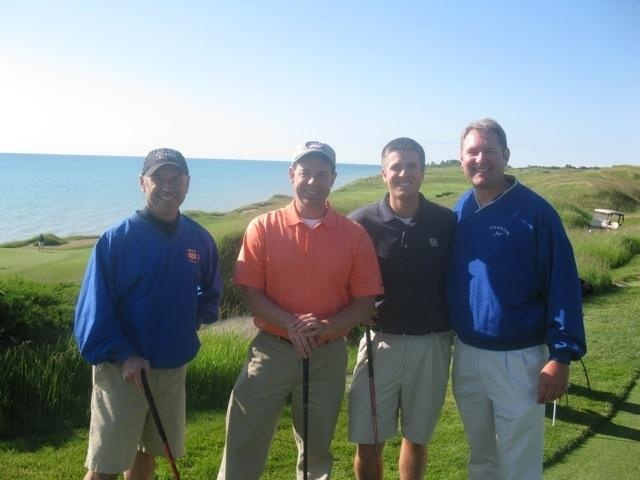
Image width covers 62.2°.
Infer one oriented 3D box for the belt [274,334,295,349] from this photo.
[{"bbox_3d":[-0.337,0.944,4.950,0.169,0.088,0.020,2,10,8],"label":"belt"}]
